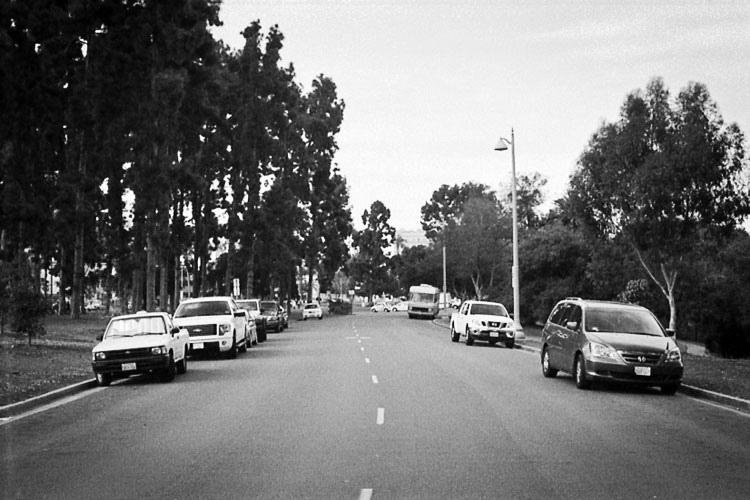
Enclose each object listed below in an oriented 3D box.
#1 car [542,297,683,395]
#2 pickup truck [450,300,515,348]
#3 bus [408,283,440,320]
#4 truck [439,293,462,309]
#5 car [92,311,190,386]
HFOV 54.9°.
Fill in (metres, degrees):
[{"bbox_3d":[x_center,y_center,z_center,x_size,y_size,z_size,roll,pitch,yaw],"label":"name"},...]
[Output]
[{"bbox_3d":[6.683,2.703,21.024,2.437,2.888,4.350,3,-8,-25],"label":"car"},{"bbox_3d":[5.638,3.887,38.286,2.131,2.620,4.798,1,-8,-16],"label":"pickup truck"},{"bbox_3d":[5.776,7.148,85.117,3.045,4.810,7.125,5,-18,8],"label":"bus"},{"bbox_3d":[11.707,7.946,113.232,3.893,3.025,2.639,-2,0,0],"label":"truck"},{"bbox_3d":[-7.354,3.042,22.610,2.235,2.298,2.576,0,-7,-4],"label":"car"}]
